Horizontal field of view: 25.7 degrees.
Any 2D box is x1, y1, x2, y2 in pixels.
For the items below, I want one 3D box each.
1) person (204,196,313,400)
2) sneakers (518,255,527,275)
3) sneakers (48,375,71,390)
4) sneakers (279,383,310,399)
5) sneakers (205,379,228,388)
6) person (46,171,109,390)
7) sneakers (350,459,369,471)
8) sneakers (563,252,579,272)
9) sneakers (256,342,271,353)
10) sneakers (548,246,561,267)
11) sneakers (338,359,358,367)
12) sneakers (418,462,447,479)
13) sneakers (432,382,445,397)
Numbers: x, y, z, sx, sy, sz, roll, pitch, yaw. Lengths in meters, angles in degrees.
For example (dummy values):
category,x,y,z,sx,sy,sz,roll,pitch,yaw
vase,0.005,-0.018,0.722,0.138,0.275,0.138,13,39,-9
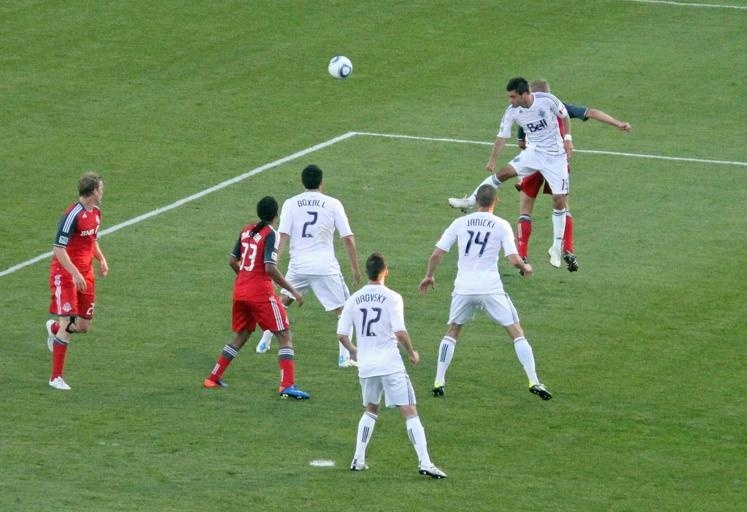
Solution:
category,x,y,z,sx,sy,sz,roll,pitch,yaw
person,-1.753,0.660,25.963,1.465,3.144,0.658,10,6,26
sneakers,2.627,0.216,28.639,0.186,0.438,0.199,1,-32,2
sneakers,-5.004,2.024,25.963,0.387,0.136,0.146,10,27,21
sneakers,-1.285,2.172,25.991,0.575,0.206,0.183,3,11,-3
sneakers,-2.533,2.058,26.210,0.382,0.126,0.135,1,12,-22
person,-4.753,0.403,26.103,0.856,3.436,1.130,6,6,-9
sneakers,-0.207,3.142,24.514,0.131,0.117,0.302,6,8,24
sneakers,3.455,0.166,28.639,0.192,0.211,0.442,-13,-47,31
sneakers,-1.834,1.553,27.313,0.170,0.162,0.216,11,1,-35
sneakers,3.232,0.062,28.931,0.202,0.335,0.225,1,-24,-15
sneakers,-0.429,1.776,26.816,0.263,0.101,0.133,-2,2,14
sneakers,0.880,3.207,24.384,0.506,0.180,0.173,7,9,-12
sneakers,1.052,2.156,26.047,0.157,0.162,0.269,2,3,-7
